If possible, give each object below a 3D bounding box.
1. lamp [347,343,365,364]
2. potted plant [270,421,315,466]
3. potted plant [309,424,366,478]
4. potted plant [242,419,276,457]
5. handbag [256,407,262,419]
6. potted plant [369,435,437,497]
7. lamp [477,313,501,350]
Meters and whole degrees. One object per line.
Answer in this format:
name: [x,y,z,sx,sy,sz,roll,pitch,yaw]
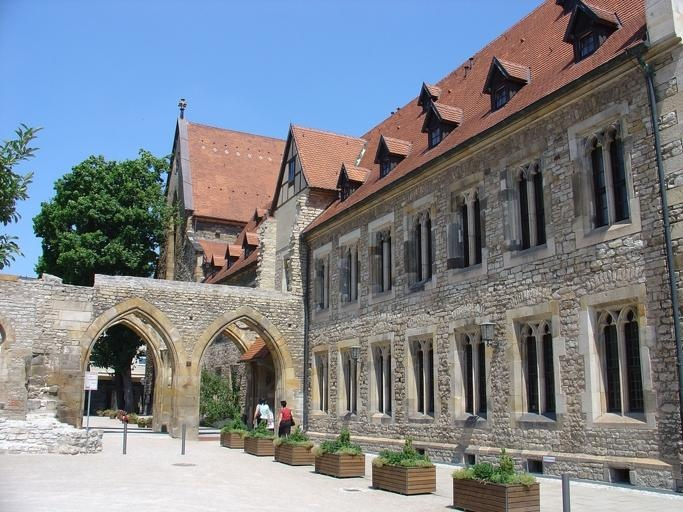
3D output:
lamp: [0.508,3.552,24.943,0.544,0.791,0.605,0,-22,-5]
potted plant: [-1.383,5.577,20.051,0.704,1.041,1.347,6,-13,-27]
potted plant: [-0.037,5.022,17.535,1.341,1.160,0.771,12,-5,-42]
potted plant: [-2.631,6.011,22.617,0.849,0.983,1.268,9,-13,-28]
handbag: [-3.039,5.741,25.402,0.186,0.487,0.794,3,-17,-8]
potted plant: [1.374,4.894,15.509,0.843,0.827,1.272,9,-14,-32]
lamp: [4.022,2.131,18.738,0.674,1.087,0.582,4,-9,-4]
